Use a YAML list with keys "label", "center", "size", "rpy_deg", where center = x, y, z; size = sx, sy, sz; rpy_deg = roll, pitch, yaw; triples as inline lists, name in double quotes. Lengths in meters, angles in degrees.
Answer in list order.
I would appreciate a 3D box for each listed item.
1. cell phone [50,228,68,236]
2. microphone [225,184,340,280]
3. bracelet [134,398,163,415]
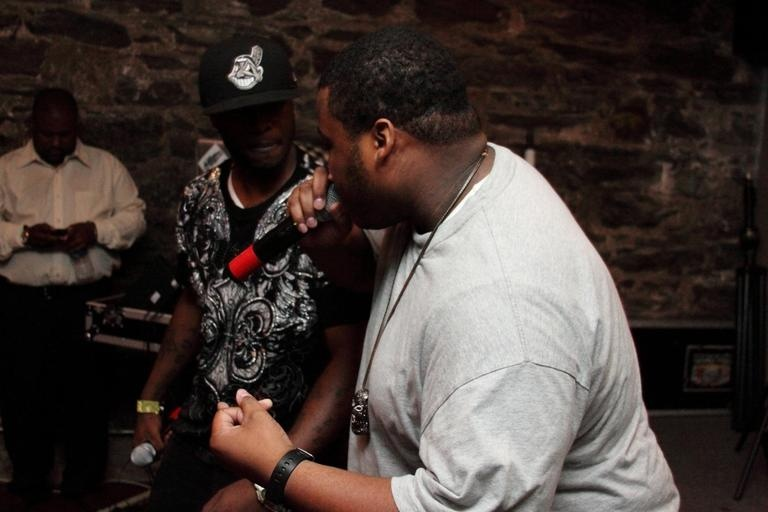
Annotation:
- label: "cell phone"
  center: [-1.472, -0.110, 3.516]
  size: [0.066, 0.037, 0.008]
  rpy_deg: [3, 8, -11]
- label: "microphone"
  center: [-0.351, -0.078, 2.810]
  size: [0.497, 0.113, 0.106]
  rpy_deg: [-34, 25, -12]
- label: "bracelet"
  center: [-1.037, 0.668, 3.401]
  size: [0.099, 0.065, 0.099]
  rpy_deg: [17, -18, -35]
